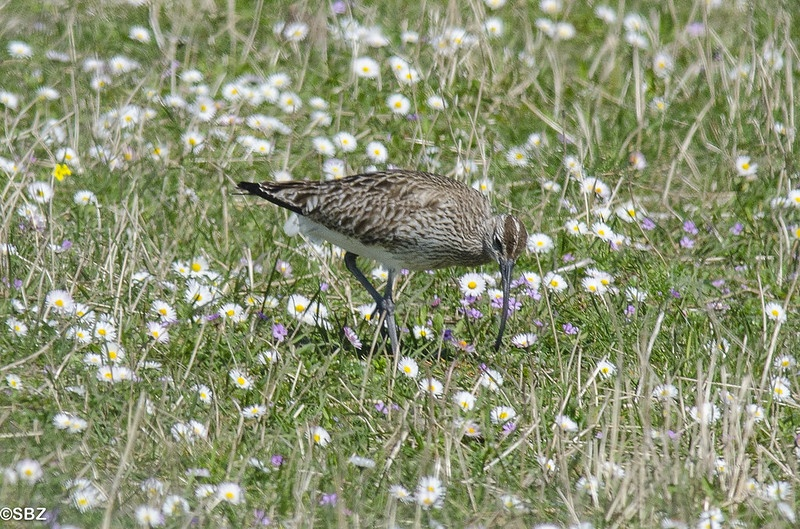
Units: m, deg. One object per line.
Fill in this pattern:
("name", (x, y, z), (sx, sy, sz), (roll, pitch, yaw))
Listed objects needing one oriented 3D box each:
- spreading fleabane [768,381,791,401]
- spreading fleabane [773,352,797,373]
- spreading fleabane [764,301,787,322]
("spreading fleabane", (2.309, 0.777, 5.299), (0.089, 0.036, 0.096), (-15, 72, -39))
("spreading fleabane", (2.449, 0.625, 5.507), (0.114, 0.041, 0.116), (4, 56, 22))
("spreading fleabane", (2.551, 0.326, 5.908), (0.120, 0.046, 0.119), (-21, 54, -29))
